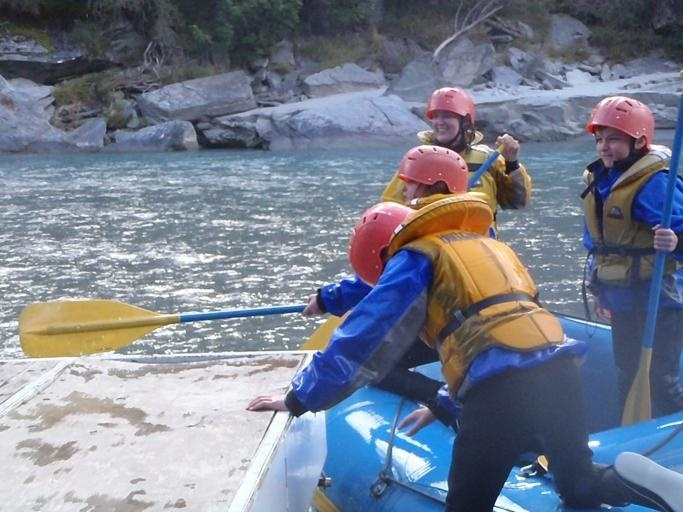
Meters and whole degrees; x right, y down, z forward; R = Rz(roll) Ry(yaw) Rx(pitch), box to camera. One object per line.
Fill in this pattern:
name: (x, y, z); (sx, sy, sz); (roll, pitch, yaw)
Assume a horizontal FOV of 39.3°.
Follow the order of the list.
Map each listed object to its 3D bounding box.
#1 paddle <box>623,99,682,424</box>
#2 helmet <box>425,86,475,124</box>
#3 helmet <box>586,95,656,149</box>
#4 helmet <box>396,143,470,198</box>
paddle: (2.664, 0.145, 8.144); (0.381, 3.027, 0.108); (9, 0, 28)
helmet: (1.022, -1.414, 8.968); (0.323, 0.243, 0.432); (19, 24, 38)
helmet: (2.423, -1.216, 8.520); (0.581, 0.395, 0.395); (0, 8, -21)
helmet: (0.756, -0.669, 7.758); (0.495, 0.256, 0.366); (26, 4, 1)
